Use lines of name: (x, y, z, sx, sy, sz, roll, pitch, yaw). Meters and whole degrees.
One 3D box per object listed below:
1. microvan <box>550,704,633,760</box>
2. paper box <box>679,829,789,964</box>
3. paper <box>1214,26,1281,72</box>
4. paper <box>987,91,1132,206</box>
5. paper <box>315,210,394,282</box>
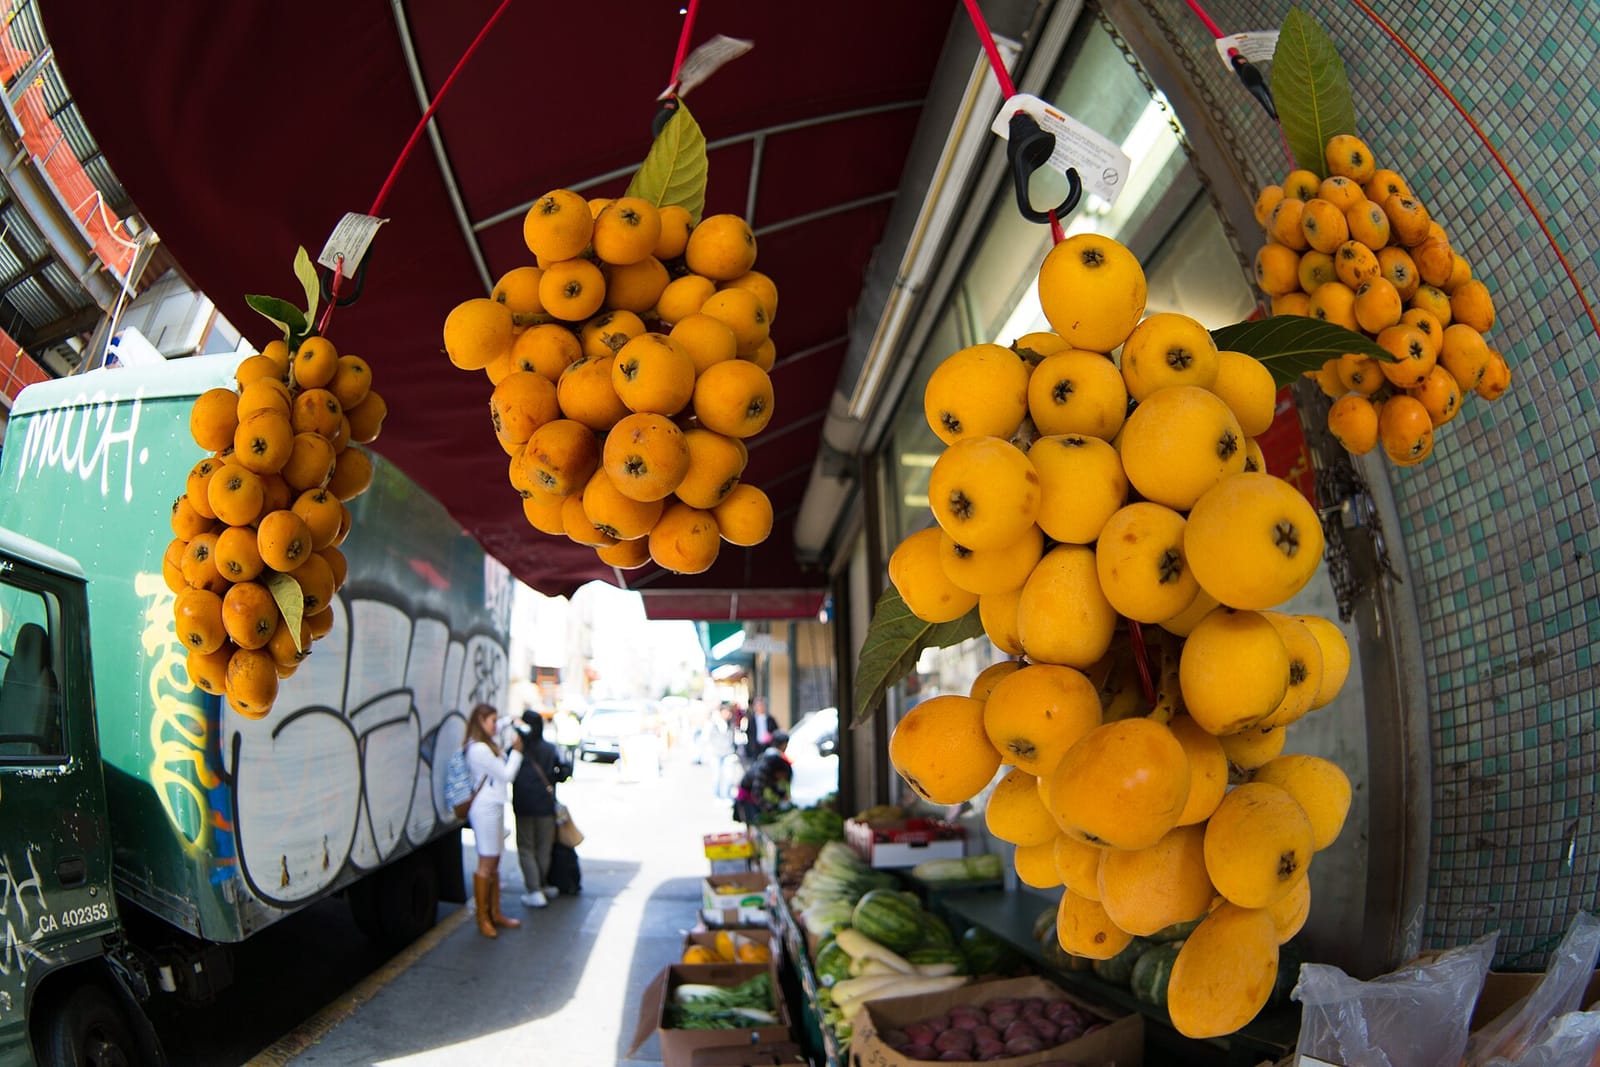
microvan: (-5.552, 5.226, 25.717, 2.042, 1.569, 4.533, 0, -17, -10)
paper box: (-0.462, 2.744, 6.717, 0.644, 0.395, 1.197, -2, 22, -3)
paper: (1.153, -1.272, 2.425, 0.154, 0.103, 0.041, -15, 15, 0)
paper: (0.617, -0.932, 2.191, 0.397, 0.169, 0.050, 33, 27, -12)
paper: (-1.283, -0.819, 2.727, 0.217, 0.231, 0.056, 30, 9, 12)
